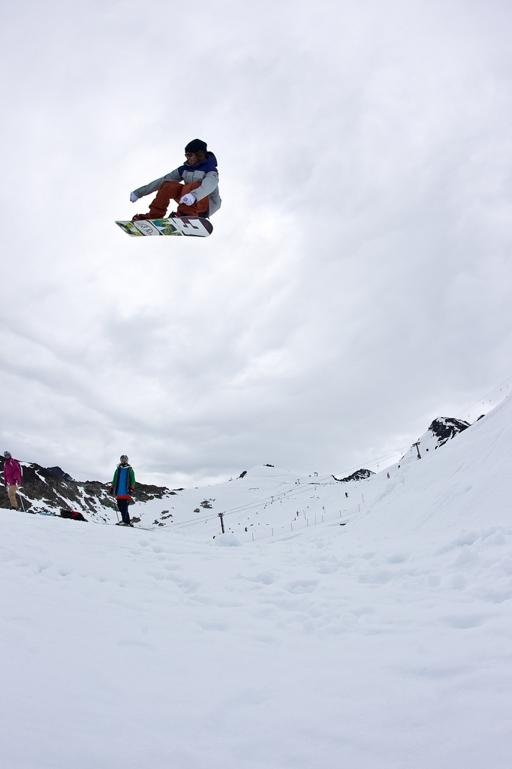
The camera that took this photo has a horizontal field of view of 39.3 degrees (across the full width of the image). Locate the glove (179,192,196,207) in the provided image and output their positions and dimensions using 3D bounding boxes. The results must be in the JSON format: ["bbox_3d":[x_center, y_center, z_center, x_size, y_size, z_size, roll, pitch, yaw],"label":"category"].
[{"bbox_3d":[-0.922,-2.440,9.425,0.085,0.182,0.196,26,15,24],"label":"glove"}]

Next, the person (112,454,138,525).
[{"bbox_3d":[-2.386,1.922,12.824,0.391,1.275,1.159,4,-3,-11],"label":"person"}]

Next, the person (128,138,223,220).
[{"bbox_3d":[-0.961,-2.791,10.040,0.840,1.046,1.153,6,-4,-38],"label":"person"}]
